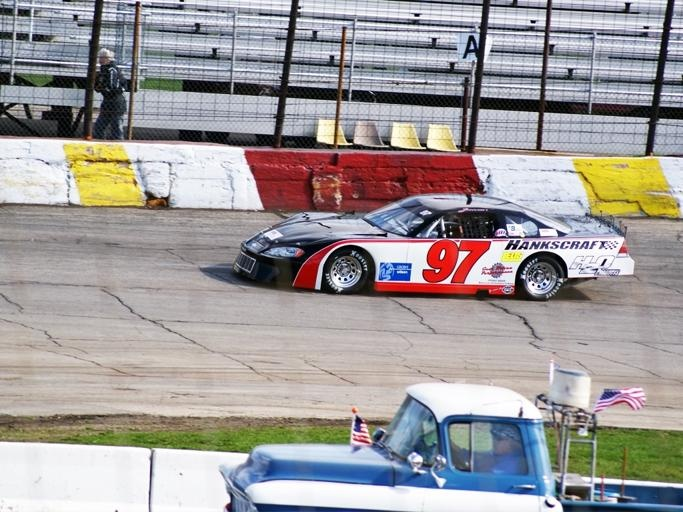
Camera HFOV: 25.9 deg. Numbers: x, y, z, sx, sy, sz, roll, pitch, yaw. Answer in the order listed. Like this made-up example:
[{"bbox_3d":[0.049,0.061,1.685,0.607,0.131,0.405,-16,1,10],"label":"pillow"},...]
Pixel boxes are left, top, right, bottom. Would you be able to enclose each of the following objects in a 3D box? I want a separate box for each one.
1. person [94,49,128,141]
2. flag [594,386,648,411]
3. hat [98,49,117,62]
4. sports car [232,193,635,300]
[{"bbox_3d":[-4.666,-3.313,30.149,0.649,1.838,0.703,2,6,-19],"label":"person"},{"bbox_3d":[3.820,1.971,20.433,0.619,0.463,0.204,-16,-14,3],"label":"flag"},{"bbox_3d":[-4.741,-4.087,30.083,0.279,0.248,0.292,3,26,-8],"label":"hat"},{"bbox_3d":[1.565,-0.065,26.132,6.748,1.211,2.360,3,7,-6],"label":"sports car"}]
